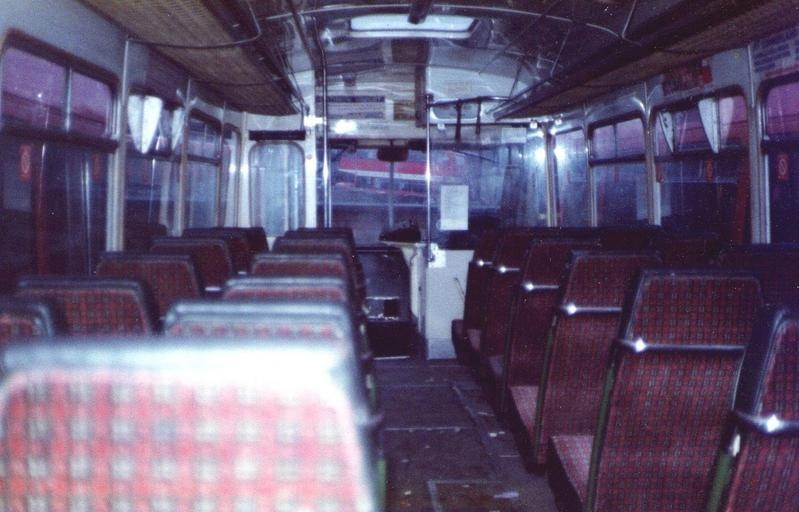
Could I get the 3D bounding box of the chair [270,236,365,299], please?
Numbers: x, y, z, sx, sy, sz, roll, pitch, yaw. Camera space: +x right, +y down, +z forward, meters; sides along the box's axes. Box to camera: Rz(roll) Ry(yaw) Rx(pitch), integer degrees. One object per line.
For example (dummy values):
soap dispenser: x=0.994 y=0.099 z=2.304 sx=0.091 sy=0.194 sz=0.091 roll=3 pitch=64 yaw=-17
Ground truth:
chair: x=-0.627 y=-0.063 z=5.563 sx=0.696 sy=0.476 sz=0.515 roll=0 pitch=6 yaw=-5

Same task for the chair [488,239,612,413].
chair: x=0.877 y=0.498 z=5.683 sx=0.815 sy=1.202 sz=0.815 roll=5 pitch=1 yaw=-25
